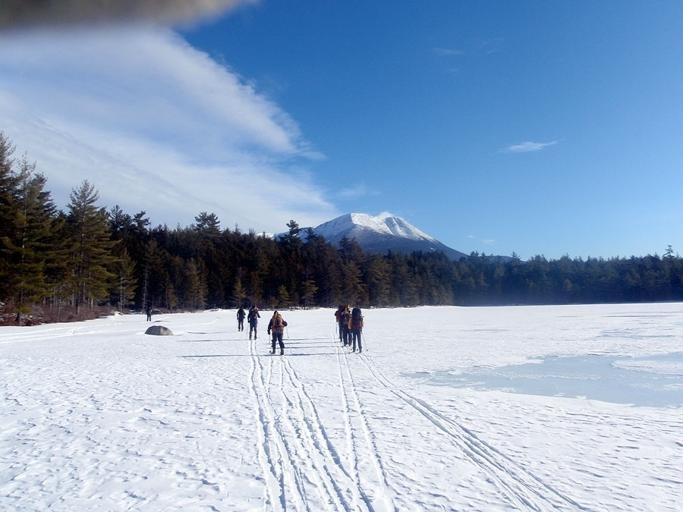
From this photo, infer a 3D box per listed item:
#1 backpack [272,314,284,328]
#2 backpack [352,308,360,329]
[{"bbox_3d":[-2.581,2.674,21.560,0.504,0.501,0.399,1,-2,-39],"label":"backpack"},{"bbox_3d":[0.650,2.779,23.079,0.564,0.765,0.255,-1,-6,-1],"label":"backpack"}]
